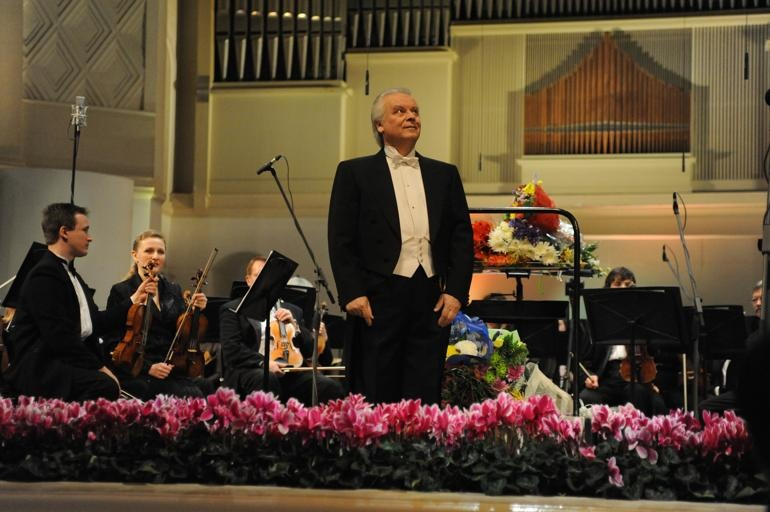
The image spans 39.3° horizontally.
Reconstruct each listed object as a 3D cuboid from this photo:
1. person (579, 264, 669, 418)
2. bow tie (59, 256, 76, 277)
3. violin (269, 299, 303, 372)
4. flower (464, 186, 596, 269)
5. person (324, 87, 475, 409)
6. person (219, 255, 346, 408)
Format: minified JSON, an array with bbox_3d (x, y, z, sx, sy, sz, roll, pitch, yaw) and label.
[{"bbox_3d":[2.334,0.774,10.450,0.771,1.432,0.289,-4,8,-2],"label":"person"},{"bbox_3d":[-2.569,0.099,8.736,0.098,0.133,0.128,-1,6,-4],"label":"bow tie"},{"bbox_3d":[-0.875,0.734,9.719,0.235,0.576,0.177,4,-24,-23],"label":"violin"},{"bbox_3d":[1.217,-0.257,8.736,0.980,0.746,0.844,1,-1,12],"label":"flower"},{"bbox_3d":[0.158,0.167,7.964,0.928,2.759,0.661,1,23,3],"label":"person"},{"bbox_3d":[-0.950,0.783,9.501,0.828,1.598,0.495,2,-15,-34],"label":"person"}]
